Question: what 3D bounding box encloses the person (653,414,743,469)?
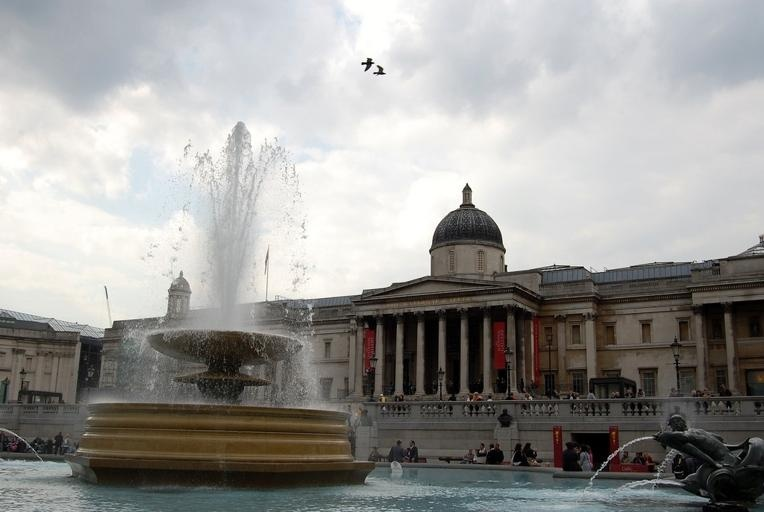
[{"bbox_3d":[6.198,3.686,14.495,1.038,0.584,1.389,13,-8,-37],"label":"person"}]
